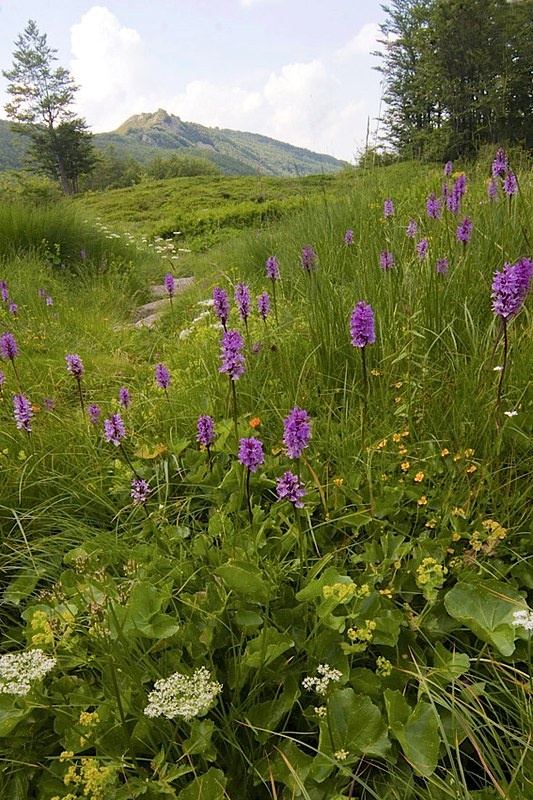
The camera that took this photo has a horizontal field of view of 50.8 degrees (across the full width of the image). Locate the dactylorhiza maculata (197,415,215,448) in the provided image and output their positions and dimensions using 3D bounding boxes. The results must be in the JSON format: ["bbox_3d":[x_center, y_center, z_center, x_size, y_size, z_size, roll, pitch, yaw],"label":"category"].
[{"bbox_3d":[-0.246,0.126,2.240,0.061,0.139,0.100,-7,14,-1],"label":"dactylorhiza maculata"}]
